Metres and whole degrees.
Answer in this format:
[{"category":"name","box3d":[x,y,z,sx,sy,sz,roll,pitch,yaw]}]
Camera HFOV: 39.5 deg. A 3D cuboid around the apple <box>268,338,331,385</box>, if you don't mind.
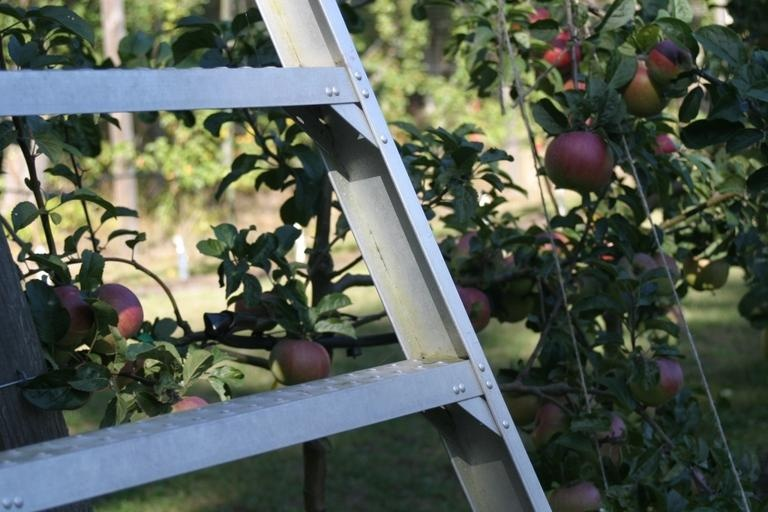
[{"category":"apple","box3d":[-0.231,0.291,2.884,0.142,0.132,0.148,3,6,-12]}]
